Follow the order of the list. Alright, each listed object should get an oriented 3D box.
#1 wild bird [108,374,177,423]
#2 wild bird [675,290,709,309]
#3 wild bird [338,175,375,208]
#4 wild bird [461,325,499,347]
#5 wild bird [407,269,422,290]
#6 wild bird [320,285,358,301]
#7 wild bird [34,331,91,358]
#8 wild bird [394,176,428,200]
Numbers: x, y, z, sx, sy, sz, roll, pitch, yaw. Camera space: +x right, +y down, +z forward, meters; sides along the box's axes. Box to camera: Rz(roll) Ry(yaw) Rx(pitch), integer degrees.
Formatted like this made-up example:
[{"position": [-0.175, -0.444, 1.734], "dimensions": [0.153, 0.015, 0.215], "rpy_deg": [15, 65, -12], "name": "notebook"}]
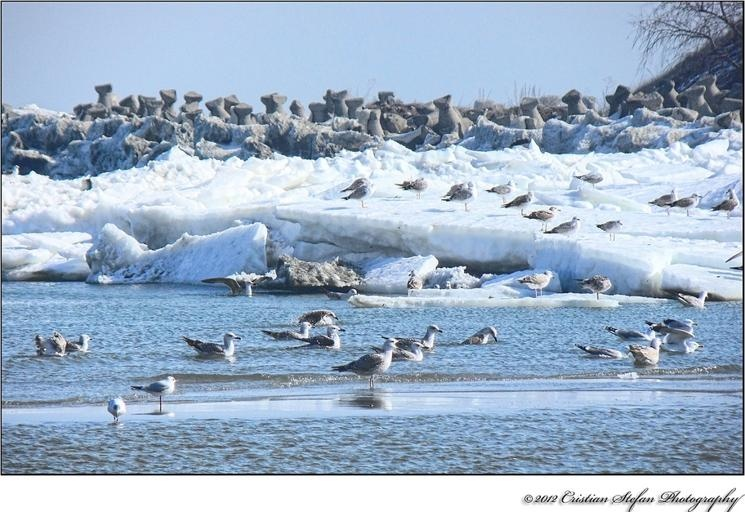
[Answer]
[{"position": [-5.489, 3.490, 35.408], "dimensions": [1.402, 1.033, 1.856], "rpy_deg": [0, 4, -21], "name": "wild bird"}, {"position": [9.665, 1.319, 43.956], "dimensions": [0.952, 0.598, 0.267], "rpy_deg": [17, -13, -14], "name": "wild bird"}, {"position": [-0.566, -2.260, 50.196], "dimensions": [1.510, 0.811, 0.750], "rpy_deg": [-2, -2, 44], "name": "wild bird"}, {"position": [2.940, 2.167, 39.824], "dimensions": [0.963, 0.483, 0.840], "rpy_deg": [-3, -2, 5], "name": "wild bird"}, {"position": [1.325, 0.780, 46.117], "dimensions": [0.578, 0.648, 0.452], "rpy_deg": [-8, -16, 12], "name": "wild bird"}, {"position": [-1.037, 1.259, 46.947], "dimensions": [1.304, 0.634, 0.409], "rpy_deg": [7, 26, -5], "name": "wild bird"}, {"position": [-8.259, 2.339, 38.705], "dimensions": [1.357, 0.654, 0.617], "rpy_deg": [-2, -2, -19], "name": "wild bird"}, {"position": [1.301, -2.453, 51.303], "dimensions": [1.544, 0.767, 0.511], "rpy_deg": [9, 10, 31], "name": "wild bird"}]
